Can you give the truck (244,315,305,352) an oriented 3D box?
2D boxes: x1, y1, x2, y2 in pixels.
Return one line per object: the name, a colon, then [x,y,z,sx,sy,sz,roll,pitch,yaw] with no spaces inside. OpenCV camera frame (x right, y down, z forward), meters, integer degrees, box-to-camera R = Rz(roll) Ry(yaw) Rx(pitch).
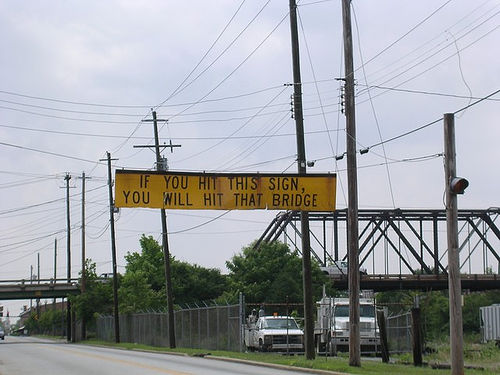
truck: [1.665,9.967,66.130,4.084,2.684,3.392,-5,-15,11]
